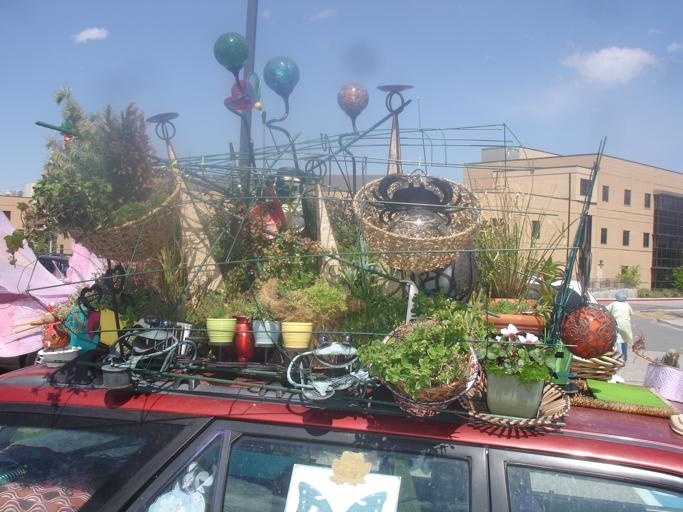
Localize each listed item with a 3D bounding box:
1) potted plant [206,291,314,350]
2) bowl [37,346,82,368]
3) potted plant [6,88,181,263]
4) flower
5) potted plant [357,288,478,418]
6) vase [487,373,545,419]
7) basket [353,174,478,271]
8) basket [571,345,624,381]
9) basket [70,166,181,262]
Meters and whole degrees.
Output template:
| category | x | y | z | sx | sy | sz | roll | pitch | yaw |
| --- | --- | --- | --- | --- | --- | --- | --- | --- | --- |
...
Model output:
| category | x | y | z | sx | sy | sz | roll | pitch | yaw |
| --- | --- | --- | --- | --- | --- | --- | --- | --- | --- |
| potted plant | -0.403 | 0.356 | 2.780 | 0.427 | 0.166 | 0.317 | 0 | -7 | 8 |
| bowl | -1.612 | 0.570 | 2.902 | 0.193 | 0.048 | 0.198 | 0 | 2 | 0 |
| potted plant | -1.357 | -0.413 | 2.868 | 0.796 | 0.904 | 0.360 | -3 | 12 | -9 |
| flower | 0.826 | 0.442 | 2.374 | 0.310 | 0.228 | 0.285 | 5 | 14 | 26 |
| potted plant | 0.409 | 0.476 | 2.355 | 0.570 | 0.445 | 0.380 | -3 | 13 | -11 |
| vase | 0.788 | 0.635 | 2.310 | 0.208 | 0.162 | 0.204 | 3 | -4 | 13 |
| basket | 0.427 | -0.176 | 2.997 | 0.751 | 0.583 | 0.647 | 3 | 13 | 14 |
| basket | 1.437 | 0.620 | 2.913 | 0.223 | 0.116 | 0.243 | 0 | -4 | 0 |
| basket | -1.158 | -0.165 | 2.927 | 0.494 | 0.237 | 0.511 | -14 | 23 | 14 |
